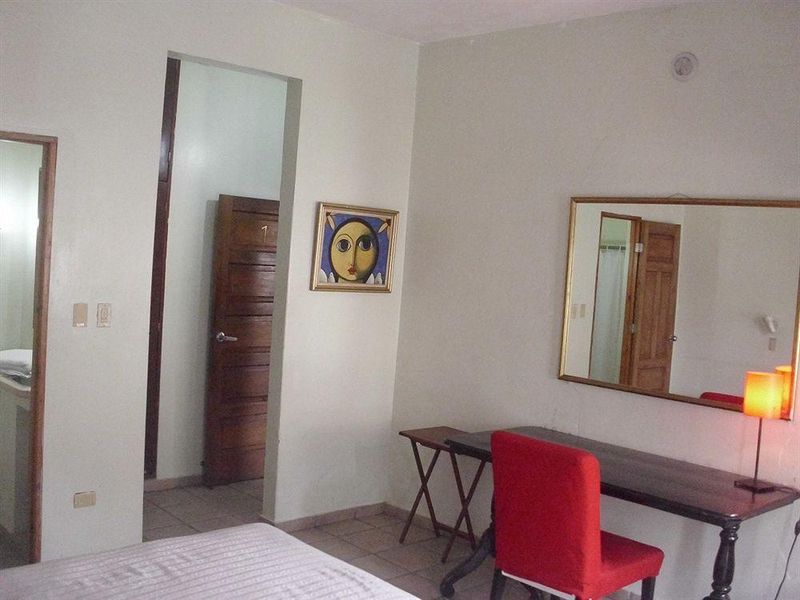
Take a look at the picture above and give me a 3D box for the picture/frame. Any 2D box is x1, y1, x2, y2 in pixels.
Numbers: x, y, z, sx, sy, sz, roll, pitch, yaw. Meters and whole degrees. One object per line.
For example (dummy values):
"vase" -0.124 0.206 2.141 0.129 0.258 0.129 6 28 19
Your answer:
"picture/frame" -0.362 -0.407 4.526 0.682 0.641 0.049 -2 12 -39

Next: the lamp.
"lamp" 1.844 0.659 3.131 0.182 0.582 0.299 7 5 38

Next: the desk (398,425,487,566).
"desk" 0.318 1.372 4.278 0.500 0.955 0.758 -4 6 -29
